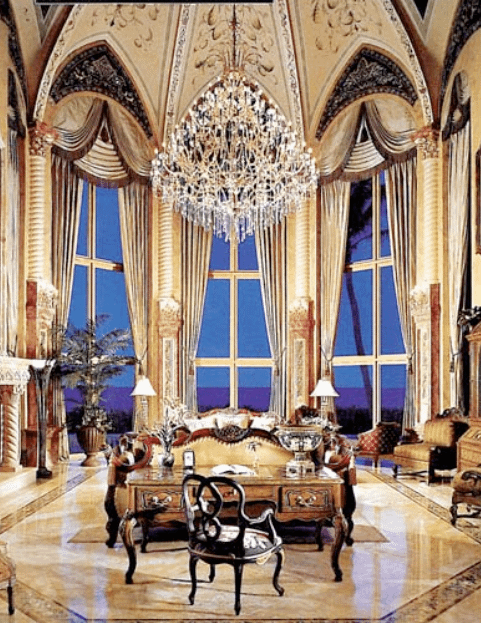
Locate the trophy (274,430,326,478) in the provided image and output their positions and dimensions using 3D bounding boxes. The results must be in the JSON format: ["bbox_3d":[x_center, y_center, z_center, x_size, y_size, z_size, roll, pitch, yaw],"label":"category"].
[{"bbox_3d":[0.462,1.053,5.166,0.318,0.361,0.320,1,-14,-1],"label":"trophy"}]

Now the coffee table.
[{"bbox_3d":[-0.016,1.488,4.698,1.567,0.878,0.933,0,-5,0],"label":"coffee table"}]
